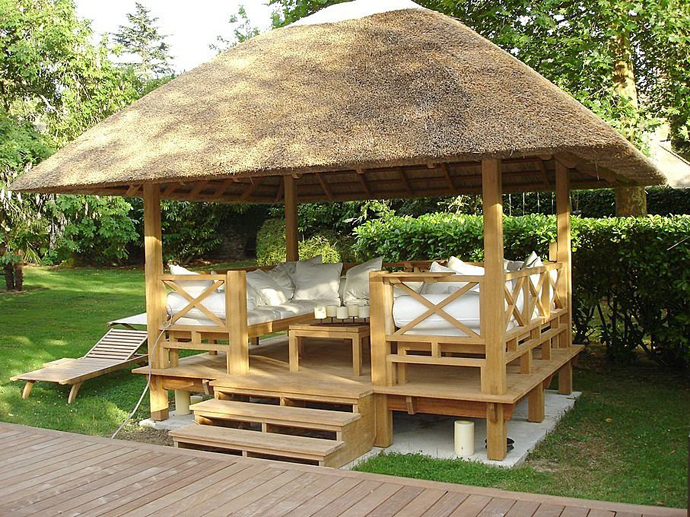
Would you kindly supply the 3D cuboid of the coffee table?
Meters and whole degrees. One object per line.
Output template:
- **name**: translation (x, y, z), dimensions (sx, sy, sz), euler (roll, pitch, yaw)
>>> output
- **coffee table**: translation (-0.052, 0.991, 6.831), dimensions (0.745, 0.378, 0.811), euler (2, 4, 43)

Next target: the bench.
- **bench**: translation (0.198, 0.824, 6.728), dimensions (2.582, 0.835, 2.641), euler (0, 1, 29)

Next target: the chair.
- **chair**: translation (-3.613, 1.478, 8.414), dimensions (0.741, 0.412, 1.443), euler (6, 16, 32)
